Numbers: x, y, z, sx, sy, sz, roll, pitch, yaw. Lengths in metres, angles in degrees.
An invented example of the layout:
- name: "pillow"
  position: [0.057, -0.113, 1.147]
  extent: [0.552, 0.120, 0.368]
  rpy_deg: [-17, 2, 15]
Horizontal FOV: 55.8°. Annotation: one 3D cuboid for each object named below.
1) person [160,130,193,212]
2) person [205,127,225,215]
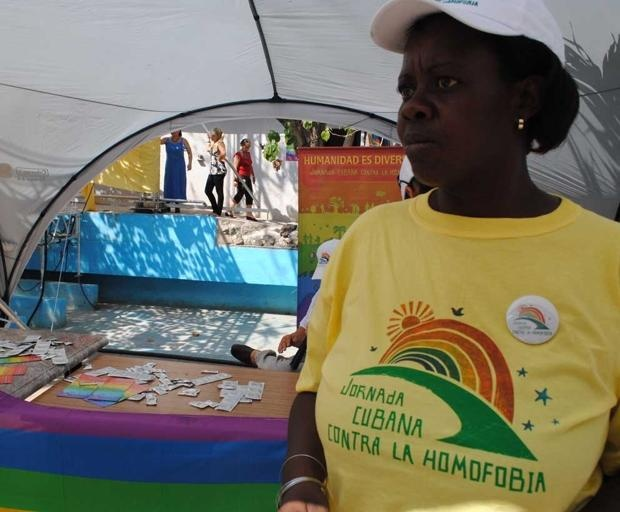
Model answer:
- name: "person"
  position: [-2.705, -1.720, 11.879]
  extent: [0.617, 1.609, 3.365]
  rpy_deg: [-4, 7, -13]
- name: "person"
  position: [-1.734, -1.502, 10.701]
  extent: [0.367, 1.528, 1.697]
  rpy_deg: [-3, 7, -10]
